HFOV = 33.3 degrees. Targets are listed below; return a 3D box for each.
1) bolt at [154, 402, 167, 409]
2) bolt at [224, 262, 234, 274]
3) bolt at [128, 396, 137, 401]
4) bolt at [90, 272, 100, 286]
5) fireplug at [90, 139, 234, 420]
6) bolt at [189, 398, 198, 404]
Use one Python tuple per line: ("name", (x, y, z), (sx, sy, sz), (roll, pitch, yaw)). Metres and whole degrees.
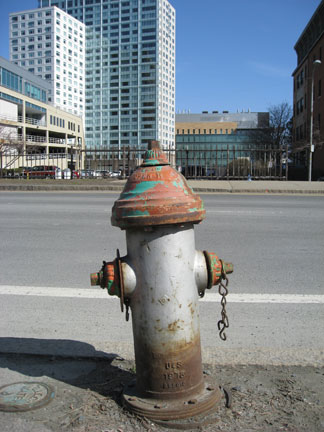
("bolt", (-0.009, 0.992, 2.842), (0.062, 0.016, 0.058), (2, 4, 3))
("bolt", (0.380, 0.298, 3.113), (0.078, 0.079, 0.073), (4, 1, 5))
("bolt", (-0.157, 0.971, 2.889), (0.030, 0.015, 0.017), (4, -1, 41))
("bolt", (-0.381, 0.350, 3.028), (0.056, 0.077, 0.065), (-3, -6, 28))
("fireplug", (-0.010, 0.332, 2.941), (0.507, 1.389, 0.716), (-2, 3, -42))
("bolt", (0.166, 0.977, 2.860), (0.046, 0.014, 0.044), (4, 5, 30))
